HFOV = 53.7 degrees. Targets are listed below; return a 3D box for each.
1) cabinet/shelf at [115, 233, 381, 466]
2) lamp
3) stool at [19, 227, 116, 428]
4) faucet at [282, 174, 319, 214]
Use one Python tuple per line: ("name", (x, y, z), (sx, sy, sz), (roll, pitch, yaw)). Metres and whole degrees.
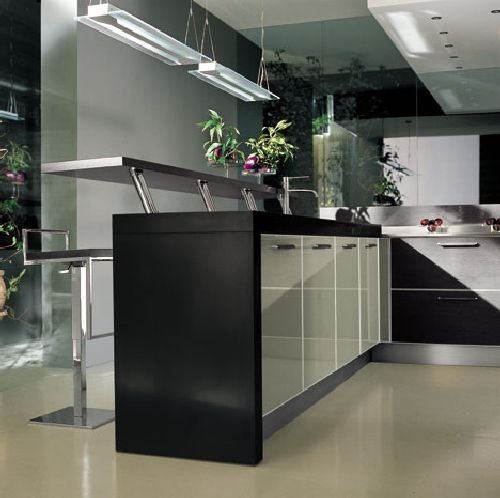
("cabinet/shelf", (0.056, 0.357, 2.333), (0.581, 0.904, 1.265), (-3, -5, 32))
("lamp", (-0.655, -1.789, 4.508), (0.282, 0.468, 1.927), (0, -10, 29))
("stool", (-0.822, 0.365, 2.494), (0.537, 0.902, 0.494), (-7, -5, 11))
("faucet", (0.440, -0.413, 4.184), (0.338, 0.384, 0.093), (-10, 13, -24))
